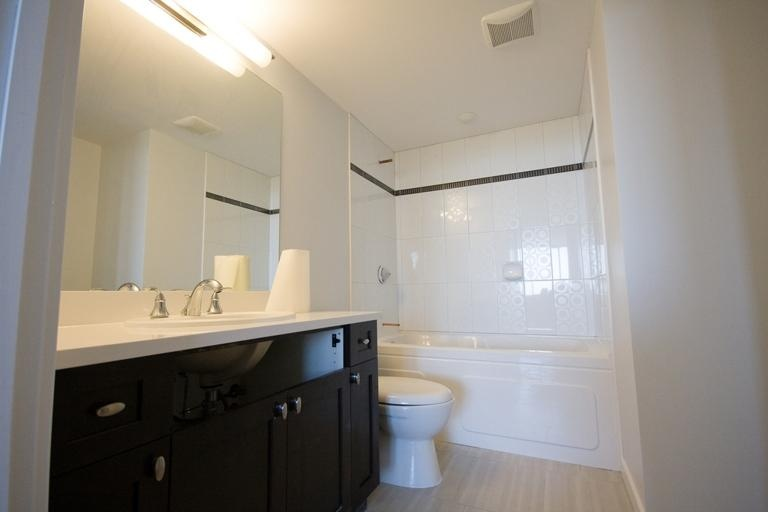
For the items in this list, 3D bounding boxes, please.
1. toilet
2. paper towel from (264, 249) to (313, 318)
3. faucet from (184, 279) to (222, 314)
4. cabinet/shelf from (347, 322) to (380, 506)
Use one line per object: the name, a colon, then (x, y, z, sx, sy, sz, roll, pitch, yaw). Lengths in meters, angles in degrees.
toilet: (0.139, 1.016, 2.965, 0.539, 0.500, 0.331, -4, -7, 33)
paper towel: (-0.499, 0.139, 2.777, 0.295, 0.407, 0.301, 4, -3, -9)
faucet: (-0.813, 0.195, 2.336, 0.216, 0.170, 0.090, -1, 0, 28)
cabinet/shelf: (-0.103, 0.779, 2.616, 0.085, 0.882, 0.335, -2, -4, 18)
